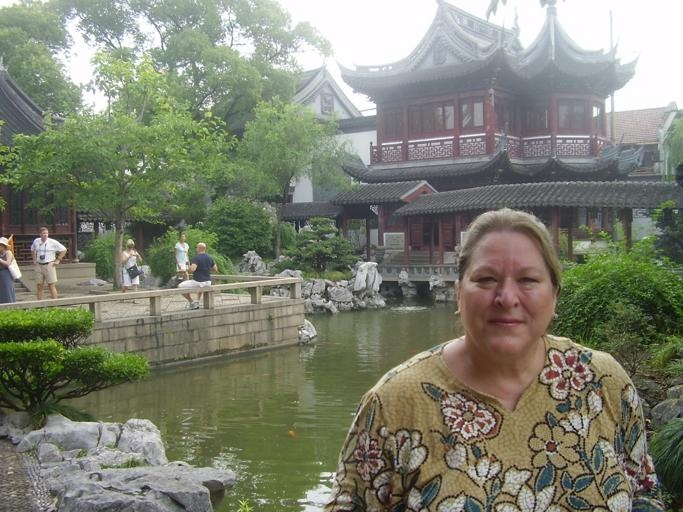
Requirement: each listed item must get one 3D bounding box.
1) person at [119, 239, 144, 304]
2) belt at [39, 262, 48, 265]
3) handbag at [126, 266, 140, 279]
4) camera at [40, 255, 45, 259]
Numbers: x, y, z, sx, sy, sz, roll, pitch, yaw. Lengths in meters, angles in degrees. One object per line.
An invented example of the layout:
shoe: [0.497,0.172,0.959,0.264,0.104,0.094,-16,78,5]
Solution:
person: [-4.750,0.237,16.578,0.385,1.194,1.977,-1,1,-16]
belt: [-5.794,0.151,14.260,0.153,0.041,0.036,-1,1,15]
handbag: [-4.616,0.360,16.171,0.190,0.195,0.096,-24,9,4]
camera: [-5.811,0.039,14.250,0.094,0.071,0.054,1,6,10]
